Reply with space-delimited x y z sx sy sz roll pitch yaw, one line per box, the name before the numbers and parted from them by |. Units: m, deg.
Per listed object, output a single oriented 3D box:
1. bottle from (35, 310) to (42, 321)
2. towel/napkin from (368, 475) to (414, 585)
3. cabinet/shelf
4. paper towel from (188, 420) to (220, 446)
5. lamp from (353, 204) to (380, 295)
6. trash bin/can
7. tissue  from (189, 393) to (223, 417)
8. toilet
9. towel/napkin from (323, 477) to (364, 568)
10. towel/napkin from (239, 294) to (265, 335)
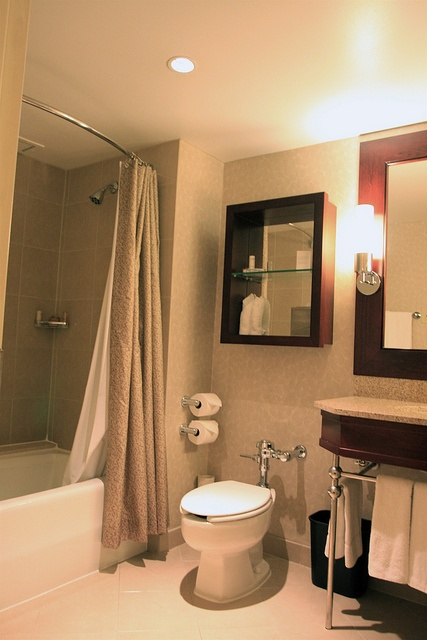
bottle | -1.134 -0.031 3.119 0.022 0.058 0.048 3 1 17
towel/napkin | 0.604 0.714 1.631 0.078 0.320 0.230 8 -8 -16
cabinet/shelf | 0.344 -0.246 2.460 0.742 1.019 0.280 3 3 39
paper towel | -0.053 0.593 2.594 0.133 0.131 0.142 -4 -9 28
lamp | 0.712 -0.320 2.220 0.124 0.422 0.124 3 1 25
trash bin/can | 0.542 1.041 2.162 0.229 0.301 0.170 -2 -5 31
tissue  | -0.043 0.448 2.607 0.128 0.124 0.134 -4 -9 28
toilet | 0.057 0.944 2.058 0.343 0.385 0.438 -1 1 38
towel/napkin | 0.539 0.774 1.895 0.093 0.334 0.288 3 1 19
towel/napkin | 0.203 -0.026 2.579 0.059 0.195 0.184 -1 1 -11
